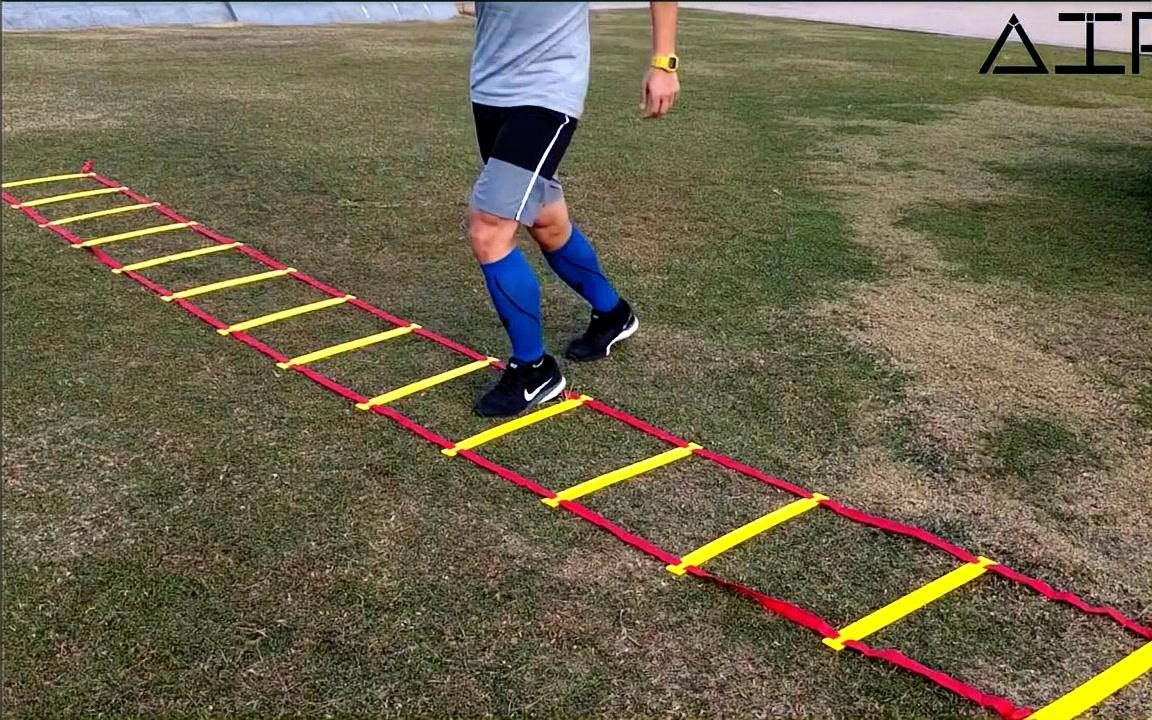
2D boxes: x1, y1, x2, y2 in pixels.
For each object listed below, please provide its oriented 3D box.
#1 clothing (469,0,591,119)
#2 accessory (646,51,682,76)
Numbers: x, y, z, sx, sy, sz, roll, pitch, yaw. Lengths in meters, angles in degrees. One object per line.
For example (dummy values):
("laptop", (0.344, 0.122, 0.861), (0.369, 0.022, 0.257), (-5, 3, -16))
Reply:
("clothing", (-0.228, -1.448, 3.835), (0.569, 0.507, 0.413), (-1, 33, -1))
("accessory", (0.423, -1.432, 3.857), (0.161, 0.073, 0.130), (4, 14, 4))
